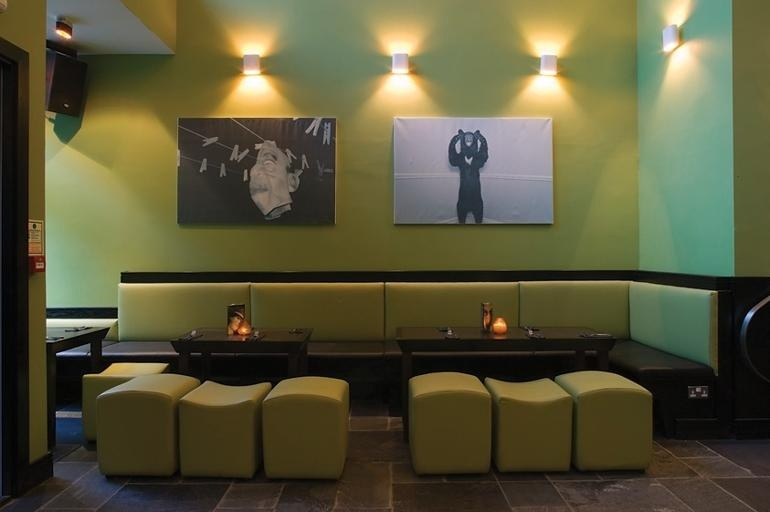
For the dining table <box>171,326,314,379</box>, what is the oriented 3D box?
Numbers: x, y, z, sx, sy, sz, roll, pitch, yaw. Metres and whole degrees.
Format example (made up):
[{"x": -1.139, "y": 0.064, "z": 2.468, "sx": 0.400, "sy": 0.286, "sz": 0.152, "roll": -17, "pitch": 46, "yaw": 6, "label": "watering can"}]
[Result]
[{"x": -1.411, "y": 0.995, "z": 6.262, "sx": 1.298, "sy": 0.505, "sz": 0.614, "roll": -3, "pitch": 1, "yaw": 3, "label": "dining table"}]

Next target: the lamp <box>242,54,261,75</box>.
[{"x": -1.551, "y": -2.203, "z": 7.134, "sx": 0.213, "sy": 0.215, "sz": 0.209, "roll": -4, "pitch": 8, "yaw": -40, "label": "lamp"}]

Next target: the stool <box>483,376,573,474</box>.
[{"x": 1.379, "y": 1.667, "z": 5.990, "sx": 0.675, "sy": 0.655, "sz": 0.978, "roll": 0, "pitch": -9, "yaw": 2, "label": "stool"}]

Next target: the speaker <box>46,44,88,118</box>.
[{"x": -3.627, "y": -1.993, "z": 6.978, "sx": 0.422, "sy": 0.845, "sz": 0.219, "roll": -4, "pitch": 1, "yaw": -29, "label": "speaker"}]

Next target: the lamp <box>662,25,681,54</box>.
[{"x": 3.098, "y": -2.364, "z": 6.726, "sx": 0.124, "sy": 0.236, "sz": 0.276, "roll": -3, "pitch": 1, "yaw": -13, "label": "lamp"}]

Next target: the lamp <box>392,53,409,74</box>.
[{"x": 0.176, "y": -2.222, "z": 7.105, "sx": 0.199, "sy": 0.197, "sz": 0.202, "roll": 1, "pitch": 9, "yaw": 2, "label": "lamp"}]

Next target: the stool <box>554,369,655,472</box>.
[{"x": 2.059, "y": 1.542, "z": 5.891, "sx": 0.765, "sy": 0.710, "sz": 0.806, "roll": -1, "pitch": -2, "yaw": 1, "label": "stool"}]

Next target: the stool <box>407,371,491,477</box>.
[{"x": 0.585, "y": 1.576, "z": 5.869, "sx": 0.767, "sy": 0.721, "sz": 0.827, "roll": 0, "pitch": -3, "yaw": 2, "label": "stool"}]

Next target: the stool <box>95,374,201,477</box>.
[{"x": -2.119, "y": 1.646, "z": 6.038, "sx": 0.811, "sy": 0.787, "sz": 1.164, "roll": -1, "pitch": -4, "yaw": 10, "label": "stool"}]

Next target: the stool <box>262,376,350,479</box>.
[{"x": -0.709, "y": 1.584, "z": 5.805, "sx": 0.784, "sy": 0.700, "sz": 0.794, "roll": 0, "pitch": -2, "yaw": -2, "label": "stool"}]

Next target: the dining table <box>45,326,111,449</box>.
[{"x": -3.046, "y": 1.237, "z": 6.309, "sx": 0.586, "sy": 0.659, "sz": 1.039, "roll": -14, "pitch": -14, "yaw": -21, "label": "dining table"}]

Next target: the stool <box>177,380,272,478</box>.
[{"x": -1.427, "y": 1.675, "z": 5.860, "sx": 0.824, "sy": 0.685, "sz": 0.861, "roll": -2, "pitch": -7, "yaw": 4, "label": "stool"}]

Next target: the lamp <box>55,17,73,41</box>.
[{"x": -3.541, "y": -2.484, "z": 6.719, "sx": 0.129, "sy": 0.214, "sz": 0.224, "roll": 1, "pitch": 11, "yaw": -3, "label": "lamp"}]

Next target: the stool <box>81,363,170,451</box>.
[{"x": -2.612, "y": 1.432, "z": 6.275, "sx": 0.689, "sy": 0.592, "sz": 0.942, "roll": 1, "pitch": -4, "yaw": -1, "label": "stool"}]
